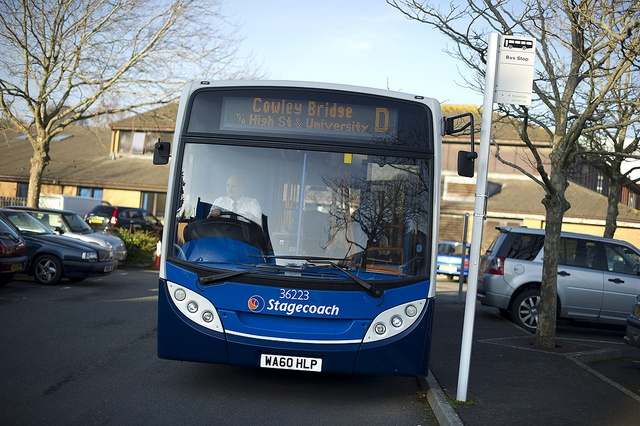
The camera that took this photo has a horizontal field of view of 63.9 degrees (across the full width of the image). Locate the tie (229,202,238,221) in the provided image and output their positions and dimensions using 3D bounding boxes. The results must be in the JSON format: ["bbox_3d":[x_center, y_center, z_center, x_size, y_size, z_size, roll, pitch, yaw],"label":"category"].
[{"bbox_3d":[-1.241,-0.025,7.443,0.127,0.248,0.058,1,-7,8],"label":"tie"}]

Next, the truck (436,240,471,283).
[{"bbox_3d":[7.450,2.512,27.667,2.190,2.046,4.032,1,-3,8],"label":"truck"}]

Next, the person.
[{"bbox_3d":[-1.189,-0.114,7.736,0.941,0.902,0.611,0,-6,8],"label":"person"}]
